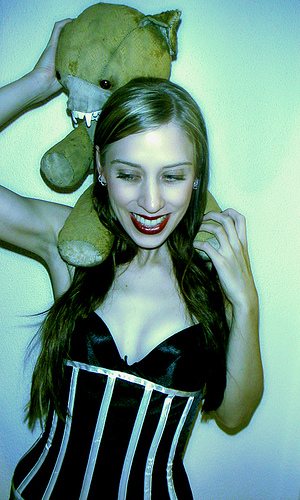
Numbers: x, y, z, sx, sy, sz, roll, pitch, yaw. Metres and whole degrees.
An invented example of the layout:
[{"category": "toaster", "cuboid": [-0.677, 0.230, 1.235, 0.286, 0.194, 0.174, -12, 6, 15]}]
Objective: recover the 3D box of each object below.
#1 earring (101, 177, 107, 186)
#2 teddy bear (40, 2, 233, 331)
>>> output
[{"category": "earring", "cuboid": [-0.112, -0.171, 1.170, 0.020, 0.020, 0.005, 2, 2, 11]}, {"category": "teddy bear", "cuboid": [-0.028, -0.273, 1.179, 0.459, 0.602, 0.318, 4, 22, -14]}]
